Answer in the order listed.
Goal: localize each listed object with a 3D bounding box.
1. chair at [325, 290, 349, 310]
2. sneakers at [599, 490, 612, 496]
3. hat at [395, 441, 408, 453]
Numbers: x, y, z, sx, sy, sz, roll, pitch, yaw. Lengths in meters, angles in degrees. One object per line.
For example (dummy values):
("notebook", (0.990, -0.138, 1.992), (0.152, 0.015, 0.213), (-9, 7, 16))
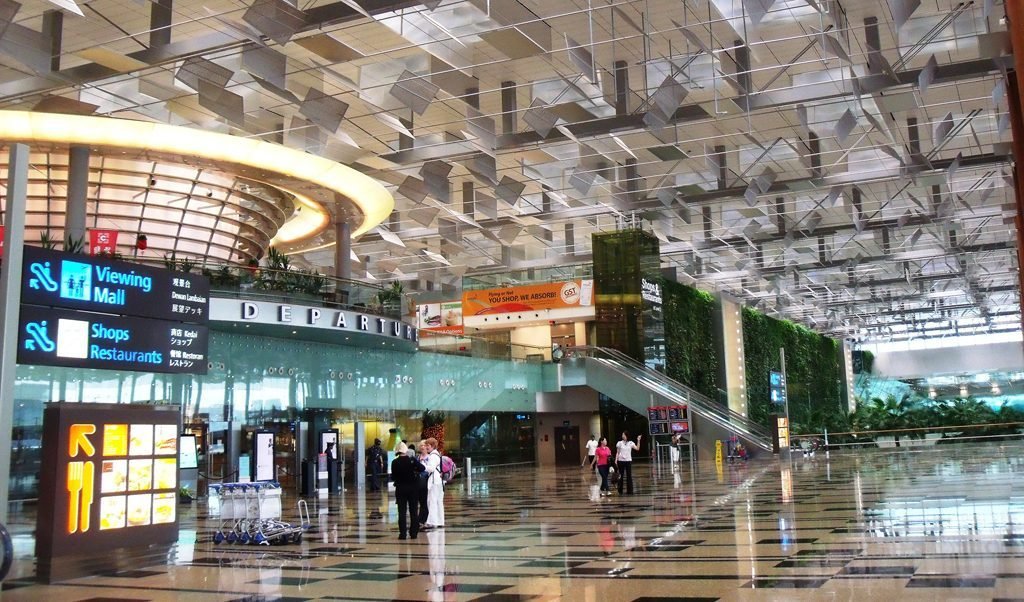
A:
("chair", (-5.827, -0.048, 26.362), (0.377, 0.545, 0.672), (-6, -12, 32))
("sneakers", (2.633, 5.244, 21.681), (0.460, 0.128, 0.191), (7, -8, -43))
("hat", (-2.133, 2.890, 15.826), (0.322, 0.251, 0.417), (2, -9, -17))
